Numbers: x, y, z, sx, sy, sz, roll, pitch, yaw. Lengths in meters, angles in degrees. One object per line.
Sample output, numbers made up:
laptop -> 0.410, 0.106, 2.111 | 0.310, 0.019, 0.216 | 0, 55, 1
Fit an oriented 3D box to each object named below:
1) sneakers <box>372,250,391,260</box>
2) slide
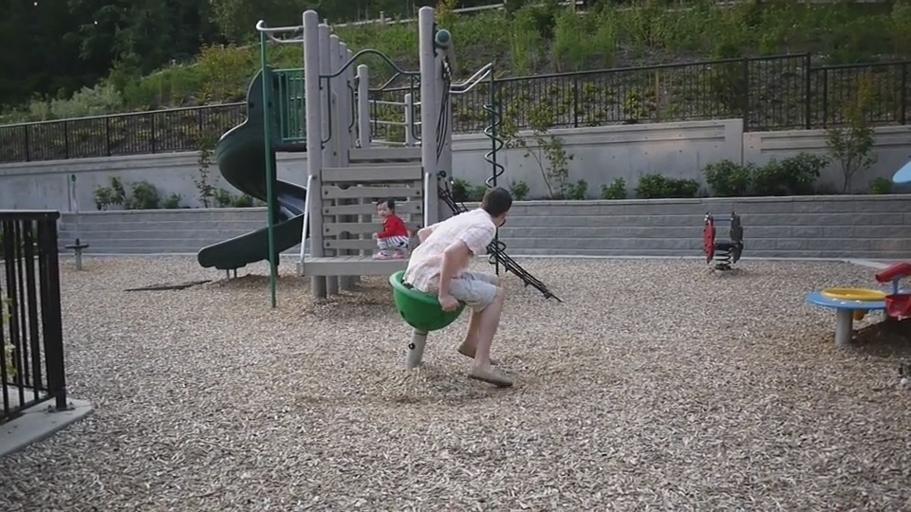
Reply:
sneakers -> -1.604, -0.014, 18.545 | 0.210, 0.143, 0.348 | 0, 3, -25
slide -> -4.859, -1.942, 21.011 | 2.441, 4.813, 2.602 | -3, 8, -10
